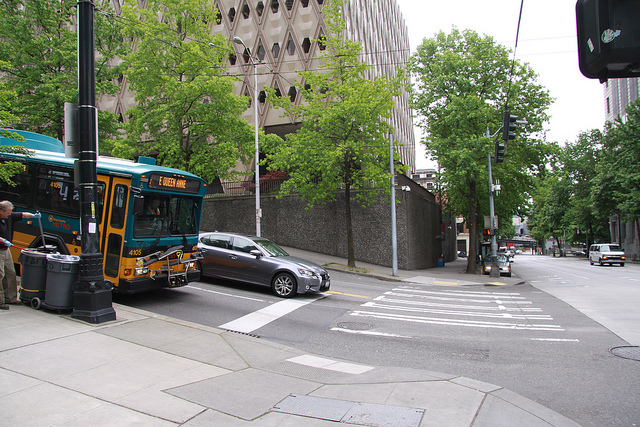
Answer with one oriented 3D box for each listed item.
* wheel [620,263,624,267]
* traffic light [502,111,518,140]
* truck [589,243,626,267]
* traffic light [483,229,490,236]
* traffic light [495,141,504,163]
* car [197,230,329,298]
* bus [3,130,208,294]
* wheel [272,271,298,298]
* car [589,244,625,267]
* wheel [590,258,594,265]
[{"bbox_3d":[25.295,4.324,42.914,0.195,0.237,0.355,1,-3,-19],"label":"wheel"},{"bbox_3d":[7.474,-3.495,20.181,0.438,1.106,0.755,4,7,17],"label":"traffic light"},{"bbox_3d":[25.007,3.590,44.868,1.910,1.575,3.307,0,-12,2],"label":"truck"},{"bbox_3d":[9.723,1.149,29.970,0.350,0.351,0.360,-1,-2,32],"label":"traffic light"},{"bbox_3d":[7.959,-2.697,22.684,0.307,0.849,0.821,4,6,15],"label":"traffic light"},{"bbox_3d":[-2.186,1.785,18.827,4.932,1.615,2.118,3,-5,17],"label":"car"},{"bbox_3d":[-7.009,-0.098,15.910,6.466,4.656,5.641,2,6,-2],"label":"bus"},{"bbox_3d":[-1.223,2.510,17.949,0.827,0.822,0.344,-9,-4,6],"label":"wheel"},{"bbox_3d":[24.905,3.531,44.782,1.772,1.453,3.075,1,-13,0],"label":"car"},{"bbox_3d":[25.099,4.489,47.300,0.205,0.638,0.640,-16,1,12],"label":"wheel"}]
